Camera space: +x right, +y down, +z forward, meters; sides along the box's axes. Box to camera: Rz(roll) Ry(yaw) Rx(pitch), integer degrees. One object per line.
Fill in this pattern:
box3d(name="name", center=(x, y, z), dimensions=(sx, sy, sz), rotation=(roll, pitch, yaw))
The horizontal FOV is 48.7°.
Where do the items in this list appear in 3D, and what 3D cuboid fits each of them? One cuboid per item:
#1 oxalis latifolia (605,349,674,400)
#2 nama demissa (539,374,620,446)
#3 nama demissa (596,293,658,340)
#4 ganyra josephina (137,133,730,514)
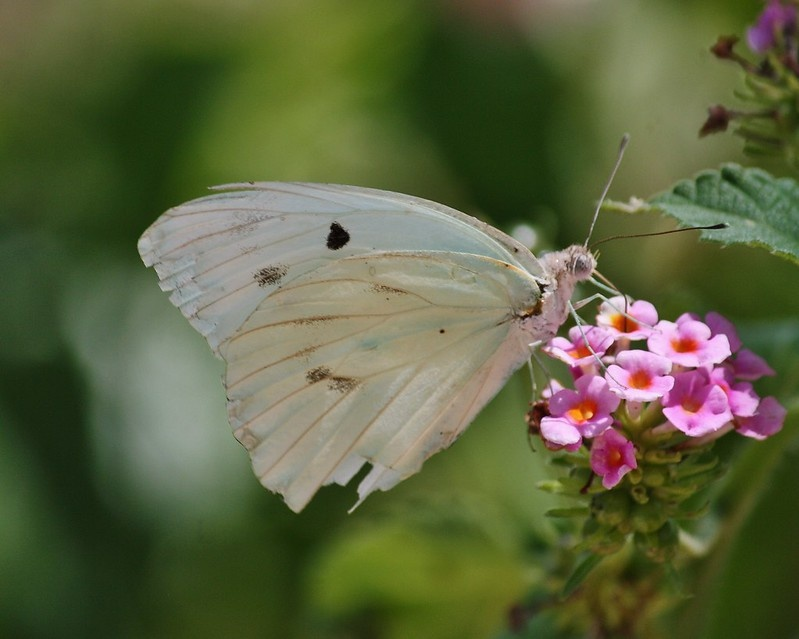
box3d(name="oxalis latifolia", center=(0.829, 0.187, 3.067), dimensions=(0.236, 0.103, 0.233), rotation=(9, 34, 27))
box3d(name="nama demissa", center=(0.616, 0.313, 3.080), dimensions=(0.271, 0.151, 0.206), rotation=(-16, 31, -13))
box3d(name="nama demissa", center=(0.853, -0.009, 3.310), dimensions=(0.175, 0.074, 0.185), rotation=(31, 75, 21))
box3d(name="ganyra josephina", center=(-0.310, -0.278, 4.706), dimensions=(3.017, 1.418, 2.667), rotation=(-5, 28, -25))
